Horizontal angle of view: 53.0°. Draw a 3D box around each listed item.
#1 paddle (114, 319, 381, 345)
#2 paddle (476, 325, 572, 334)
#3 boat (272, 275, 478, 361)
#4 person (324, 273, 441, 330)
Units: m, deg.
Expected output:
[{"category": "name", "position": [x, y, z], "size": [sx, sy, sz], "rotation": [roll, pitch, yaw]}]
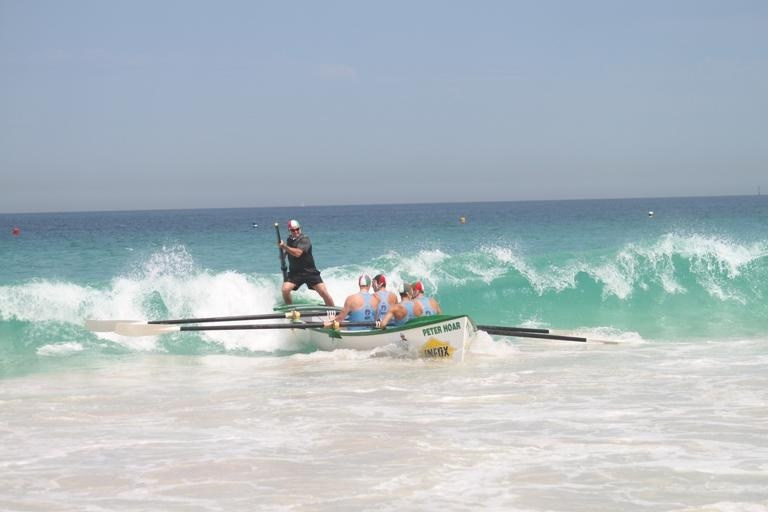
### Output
[{"category": "paddle", "position": [-2.915, 1.651, 16.739], "size": [5.297, 0.441, 0.553], "rotation": [-2, -2, -5]}, {"category": "paddle", "position": [3.065, 1.668, 17.552], "size": [2.489, 0.164, 0.296], "rotation": [3, 2, 8]}, {"category": "boat", "position": [-0.489, 1.304, 16.300], "size": [4.348, 0.861, 1.518], "rotation": [1, 1, 36]}, {"category": "person", "position": [-0.119, 0.959, 16.143], "size": [2.203, 0.765, 1.120], "rotation": [0, -1, 36]}]
